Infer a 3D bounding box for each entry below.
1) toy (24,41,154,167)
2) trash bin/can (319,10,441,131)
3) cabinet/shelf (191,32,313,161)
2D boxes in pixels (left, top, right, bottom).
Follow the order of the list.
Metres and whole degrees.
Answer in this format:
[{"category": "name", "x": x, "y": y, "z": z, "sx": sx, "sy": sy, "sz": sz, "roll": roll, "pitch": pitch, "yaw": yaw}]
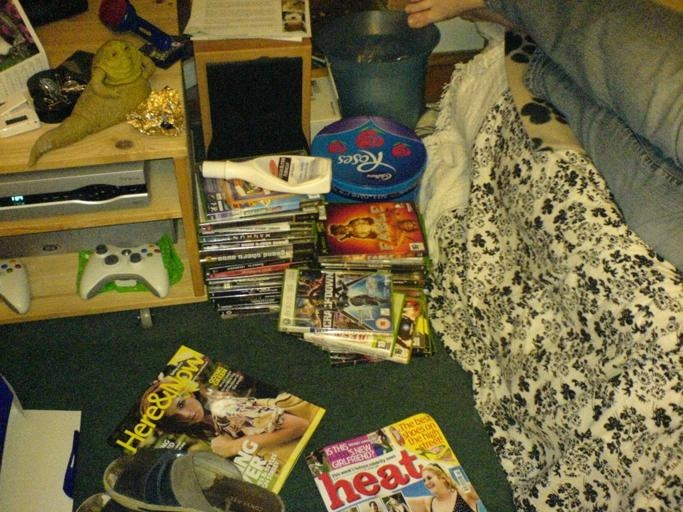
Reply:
[{"category": "toy", "x": -0.594, "y": -0.360, "z": 1.362, "sx": 0.179, "sy": 0.165, "sz": 0.356, "roll": 31, "pitch": 63, "yaw": 4}, {"category": "trash bin/can", "x": 0.124, "y": -0.616, "z": 2.054, "sx": 0.433, "sy": 0.305, "sz": 0.384, "roll": 8, "pitch": 53, "yaw": 9}, {"category": "cabinet/shelf", "x": -0.283, "y": -0.506, "z": 1.735, "sx": 0.319, "sy": 0.410, "sz": 0.219, "roll": -11, "pitch": 57, "yaw": -14}]
